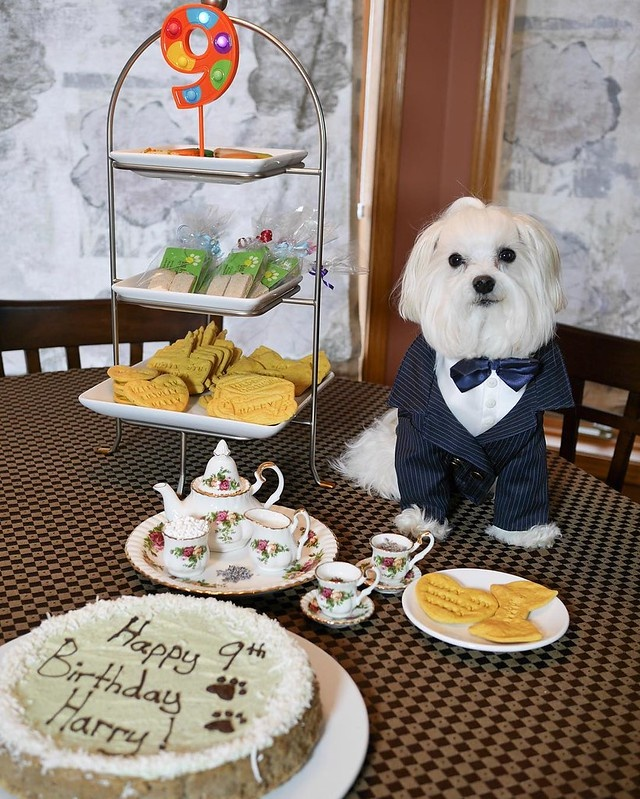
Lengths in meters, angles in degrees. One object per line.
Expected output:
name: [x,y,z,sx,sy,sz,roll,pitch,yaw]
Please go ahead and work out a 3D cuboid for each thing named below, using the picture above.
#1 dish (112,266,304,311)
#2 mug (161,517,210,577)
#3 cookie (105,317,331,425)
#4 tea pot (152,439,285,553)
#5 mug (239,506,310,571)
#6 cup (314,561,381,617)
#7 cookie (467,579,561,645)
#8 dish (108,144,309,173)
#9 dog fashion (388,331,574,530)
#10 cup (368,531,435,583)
dish: [-0.181,-0.189,1.339,0.378,0.043,0.239,-3,21,-18]
mug: [-0.201,0.220,1.084,0.080,0.069,0.077,12,15,35]
cookie: [-0.207,-0.039,1.412,0.310,0.072,0.271,7,16,22]
tea pot: [-0.171,0.158,1.187,0.246,0.148,0.135,2,14,-22]
mug: [-0.060,0.213,1.109,0.107,0.083,0.073,-2,12,20]
cup: [0.030,0.262,1.002,0.103,0.057,0.060,2,5,4]
cookie: [0.275,0.296,1.020,0.092,0.016,0.185,2,12,24]
dish: [-0.206,-0.445,1.348,0.307,0.045,0.322,6,20,7]
dog fashion: [0.293,0.065,1.350,0.469,0.408,0.242,1,7,8]
cup: [0.126,0.239,1.105,0.102,0.069,0.060,-2,14,18]
